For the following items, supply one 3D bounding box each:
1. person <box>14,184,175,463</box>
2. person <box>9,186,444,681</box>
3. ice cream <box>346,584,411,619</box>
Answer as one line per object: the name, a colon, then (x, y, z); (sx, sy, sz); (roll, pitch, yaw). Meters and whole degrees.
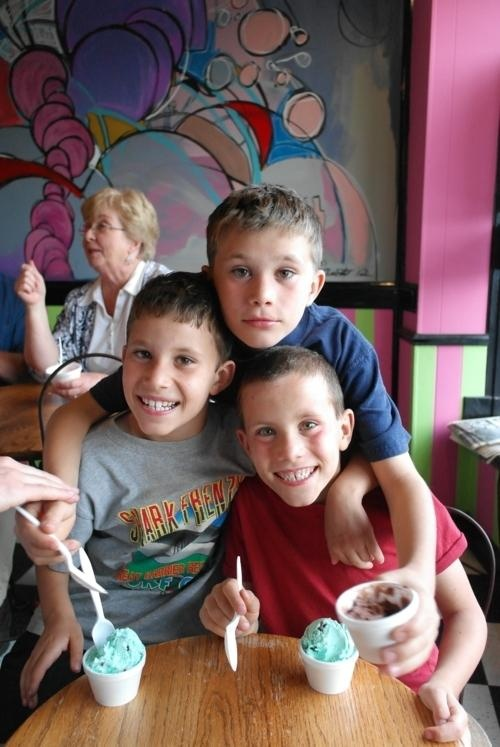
person: (-0.661, -0.327, 2.535); (0.669, 0.951, 0.607); (1, 6, 3)
person: (0.062, -0.004, 1.161); (0.893, 0.726, 0.658); (1, 4, 39)
ice cream: (0.152, 0.271, 0.673); (0.037, 0.022, 0.035); (-17, 9, 32)
